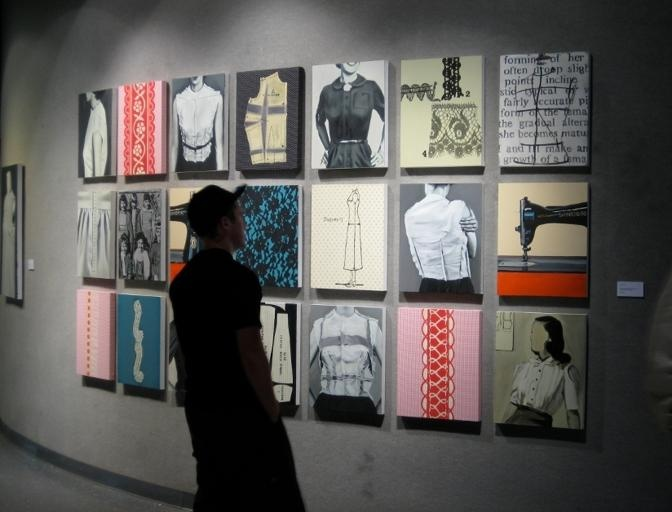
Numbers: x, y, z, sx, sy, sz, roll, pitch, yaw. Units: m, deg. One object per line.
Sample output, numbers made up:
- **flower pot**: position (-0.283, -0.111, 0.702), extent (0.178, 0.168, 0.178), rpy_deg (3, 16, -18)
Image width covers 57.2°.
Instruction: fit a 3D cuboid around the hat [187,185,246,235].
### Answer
- **hat**: position (-0.587, -0.242, 3.036), extent (0.166, 0.317, 0.149), rpy_deg (3, -26, 39)
